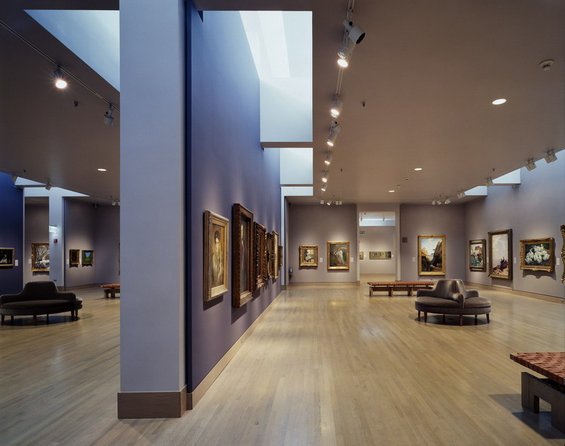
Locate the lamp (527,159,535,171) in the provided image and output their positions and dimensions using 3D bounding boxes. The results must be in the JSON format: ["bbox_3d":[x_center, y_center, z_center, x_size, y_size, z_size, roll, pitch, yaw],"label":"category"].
[{"bbox_3d":[7.314,-1.726,11.863,0.209,0.347,0.501,-1,-1,29],"label":"lamp"}]

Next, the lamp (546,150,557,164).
[{"bbox_3d":[7.311,-1.811,10.969,0.203,0.401,0.622,-1,-1,36],"label":"lamp"}]

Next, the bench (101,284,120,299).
[{"bbox_3d":[-7.345,2.999,17.260,0.589,0.638,1.296,0,-1,-20],"label":"bench"}]

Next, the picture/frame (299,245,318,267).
[{"bbox_3d":[1.511,1.947,23.037,0.945,1.338,0.158,-1,0,4],"label":"picture/frame"}]
